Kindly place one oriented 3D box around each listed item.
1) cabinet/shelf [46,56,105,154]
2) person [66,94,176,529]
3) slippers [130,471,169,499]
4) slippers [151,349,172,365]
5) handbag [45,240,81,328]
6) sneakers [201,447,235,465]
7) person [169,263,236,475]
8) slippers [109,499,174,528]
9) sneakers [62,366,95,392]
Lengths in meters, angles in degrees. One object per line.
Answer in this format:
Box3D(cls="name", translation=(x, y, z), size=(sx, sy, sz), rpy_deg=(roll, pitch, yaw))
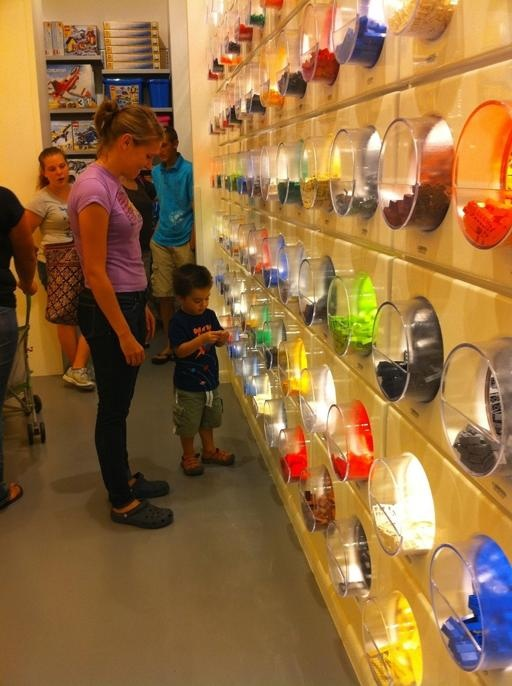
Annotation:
Box3D(cls="cabinet/shelf", translation=(-2.282, -2.740, 5.606), size=(0.310, 1.016, 0.982), rpy_deg=(10, 22, 16))
Box3D(cls="person", translation=(-0.538, -0.033, 1.939), size=(0.348, 1.762, 0.324), rpy_deg=(-11, 15, -40))
Box3D(cls="slippers", translation=(-0.528, 0.705, 2.349), size=(0.156, 0.083, 0.093), rpy_deg=(0, 19, -6))
Box3D(cls="slippers", translation=(-0.841, 0.129, 4.213), size=(0.171, 0.084, 0.109), rpy_deg=(-12, 21, -12))
Box3D(cls="handbag", translation=(-1.406, -0.422, 3.555), size=(0.335, 0.590, 0.325), rpy_deg=(4, -1, -25))
Box3D(cls="sneakers", translation=(-0.214, 0.637, 2.617), size=(0.155, 0.083, 0.087), rpy_deg=(1, 18, 6))
Box3D(cls="person", translation=(-0.298, 0.127, 2.560), size=(0.319, 1.099, 0.341), rpy_deg=(-3, 12, -10))
Box3D(cls="slippers", translation=(-0.508, 0.779, 2.118), size=(0.203, 0.095, 0.125), rpy_deg=(2, 12, 3))
Box3D(cls="sneakers", translation=(-1.386, 0.271, 3.821), size=(0.299, 0.166, 0.133), rpy_deg=(18, 8, 15))
